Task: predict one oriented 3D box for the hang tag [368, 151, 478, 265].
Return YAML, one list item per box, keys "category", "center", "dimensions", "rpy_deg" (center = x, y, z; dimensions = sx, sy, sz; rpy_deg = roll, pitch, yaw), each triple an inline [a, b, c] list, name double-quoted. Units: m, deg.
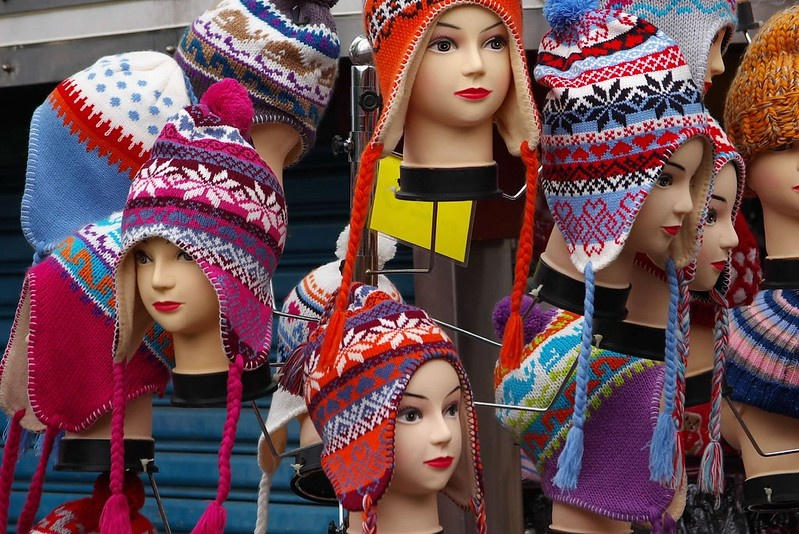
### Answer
- category: "hang tag"
  center: [0.065, -0.191, 3.343]
  dimensions: [0.239, 0.291, 0.020]
  rpy_deg: [18, -4, -9]
